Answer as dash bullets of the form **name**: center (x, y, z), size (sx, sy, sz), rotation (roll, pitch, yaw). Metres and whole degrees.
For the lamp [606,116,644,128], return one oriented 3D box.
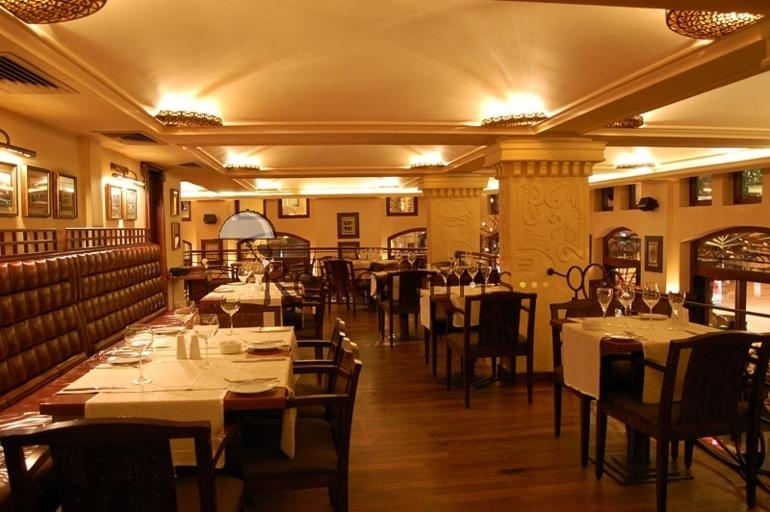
- **lamp**: center (2.868, -1.582, 6.527), size (0.324, 0.126, 0.244), rotation (-1, 3, -2)

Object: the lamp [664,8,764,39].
- **lamp**: center (2.461, -1.795, 4.230), size (0.446, 0.098, 0.432), rotation (-2, 6, -24)

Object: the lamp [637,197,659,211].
- **lamp**: center (6.260, -1.245, 13.104), size (0.301, 0.322, 0.415), rotation (11, -8, -16)

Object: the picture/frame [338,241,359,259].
- **picture/frame**: center (-0.904, -0.141, 13.475), size (0.699, 0.418, 0.688), rotation (0, -1, -6)

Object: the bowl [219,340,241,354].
- **bowl**: center (-1.256, 0.735, 4.426), size (0.118, 0.049, 0.099), rotation (3, 2, 0)

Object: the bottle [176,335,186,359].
- **bottle**: center (-1.602, 0.712, 4.302), size (0.075, 0.169, 0.147), rotation (-6, 13, -20)

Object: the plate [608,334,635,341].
- **plate**: center (1.958, 0.674, 4.565), size (0.194, 0.012, 0.131), rotation (1, 11, 11)

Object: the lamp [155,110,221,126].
- **lamp**: center (-2.158, -1.519, 6.019), size (0.610, 0.143, 0.359), rotation (-1, 11, 2)

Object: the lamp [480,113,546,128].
- **lamp**: center (1.511, -1.588, 6.413), size (0.754, 0.146, 0.602), rotation (0, 11, 7)

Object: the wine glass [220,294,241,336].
- **wine glass**: center (-1.365, 0.516, 4.860), size (0.139, 0.362, 0.490), rotation (-5, 12, -16)
